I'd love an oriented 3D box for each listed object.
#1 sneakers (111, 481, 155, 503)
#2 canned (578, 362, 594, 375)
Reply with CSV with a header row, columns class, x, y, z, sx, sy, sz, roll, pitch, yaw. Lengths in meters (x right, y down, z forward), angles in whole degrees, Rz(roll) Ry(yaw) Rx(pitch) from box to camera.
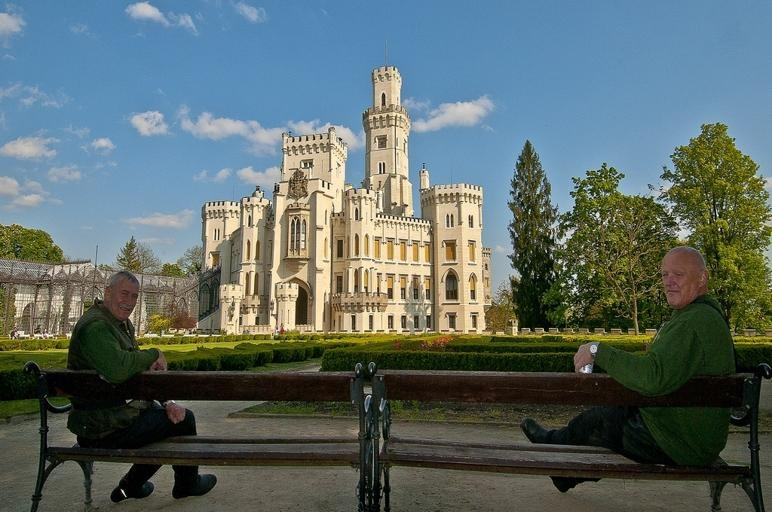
class,x,y,z,sx,sy,sz,roll,pitch,yaw
sneakers,-3.362,3.131,9.141,0.625,0.216,0.282,-1,-4,-17
canned,2.450,1.361,8.338,0.151,0.122,0.166,4,-17,-7
